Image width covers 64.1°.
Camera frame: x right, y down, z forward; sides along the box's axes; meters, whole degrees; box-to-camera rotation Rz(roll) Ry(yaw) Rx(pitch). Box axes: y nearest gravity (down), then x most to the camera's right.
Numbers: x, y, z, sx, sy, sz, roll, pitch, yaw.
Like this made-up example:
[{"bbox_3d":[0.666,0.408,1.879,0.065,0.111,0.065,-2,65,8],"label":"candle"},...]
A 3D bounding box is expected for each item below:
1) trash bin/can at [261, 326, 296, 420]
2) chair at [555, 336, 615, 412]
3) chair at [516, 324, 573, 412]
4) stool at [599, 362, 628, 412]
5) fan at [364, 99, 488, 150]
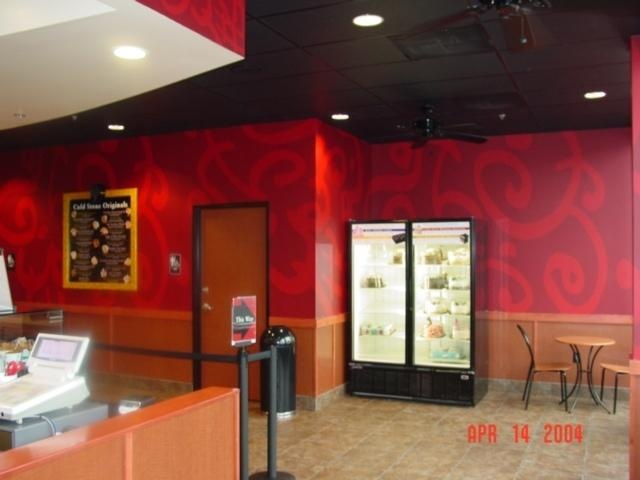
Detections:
[{"bbox_3d":[-0.516,1.614,6.320,0.433,1.075,0.370,0,0,-4],"label":"trash bin/can"},{"bbox_3d":[3.531,1.751,6.812,0.684,0.746,0.698,3,-5,-8],"label":"chair"},{"bbox_3d":[2.965,1.679,6.754,0.644,0.990,0.600,-2,-2,11],"label":"chair"},{"bbox_3d":[3.763,1.889,6.603,0.370,0.486,0.476,8,-17,31],"label":"stool"},{"bbox_3d":[1.346,-1.358,6.670,1.238,0.498,2.257,0,0,3],"label":"fan"}]
